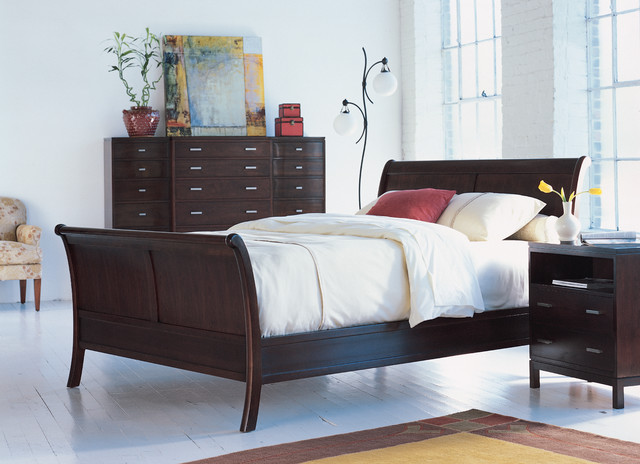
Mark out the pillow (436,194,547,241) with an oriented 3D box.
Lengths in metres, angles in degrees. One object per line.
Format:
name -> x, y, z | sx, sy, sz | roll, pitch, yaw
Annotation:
pillow -> 1.184, -0.116, 4.075 | 0.420, 0.161, 0.573 | -23, 10, -22

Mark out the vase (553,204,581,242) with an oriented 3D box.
vase -> 1.481, -0.056, 3.519 | 0.166, 0.212, 0.159 | 1, 6, 29

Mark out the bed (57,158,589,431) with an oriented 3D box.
bed -> 0.132, 0.454, 3.843 | 2.847, 1.302, 1.887 | -2, 3, -35

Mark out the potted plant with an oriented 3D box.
potted plant -> -1.977, -1.587, 6.264 | 0.597, 1.205, 0.461 | -3, 6, -18
